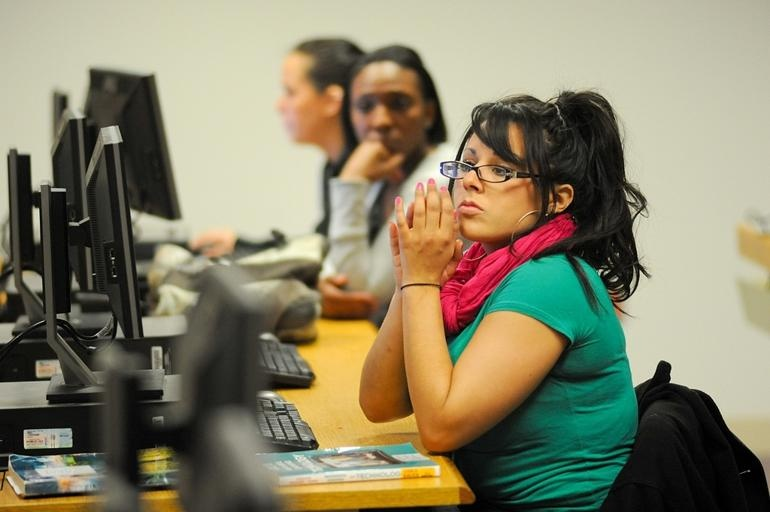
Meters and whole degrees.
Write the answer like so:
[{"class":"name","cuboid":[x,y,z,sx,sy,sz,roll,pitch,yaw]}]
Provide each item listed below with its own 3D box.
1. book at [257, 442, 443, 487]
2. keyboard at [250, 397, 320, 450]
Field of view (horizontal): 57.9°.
[{"class":"book","cuboid":[-0.073,0.418,1.437,0.345,0.059,0.145,6,9,-10]},{"class":"keyboard","cuboid":[-0.210,0.353,1.458,0.087,0.024,0.234,-4,17,-13]}]
